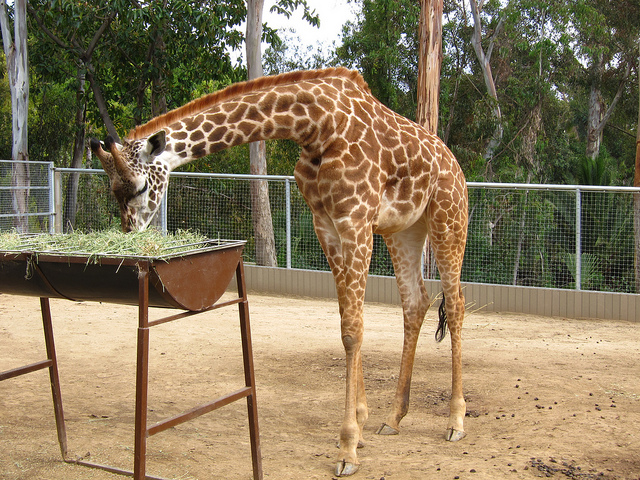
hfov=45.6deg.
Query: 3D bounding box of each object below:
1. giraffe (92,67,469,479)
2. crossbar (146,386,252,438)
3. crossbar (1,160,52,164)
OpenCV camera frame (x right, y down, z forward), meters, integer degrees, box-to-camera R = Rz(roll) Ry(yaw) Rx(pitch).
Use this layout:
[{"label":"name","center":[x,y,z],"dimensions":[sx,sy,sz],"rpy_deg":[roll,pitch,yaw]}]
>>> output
[{"label":"giraffe","center":[0.026,0.215,7.473],"dimensions":[3.293,3.704,1.087],"rpy_deg":[-3,11,-18]},{"label":"crossbar","center":[-1.099,1.513,6.854],"dimensions":[1.053,0.229,0.198],"rpy_deg":[-9,14,-35]},{"label":"crossbar","center":[-5.465,-1.439,14.244],"dimensions":[0.832,0.100,0.403],"rpy_deg":[0,13,-4]}]
